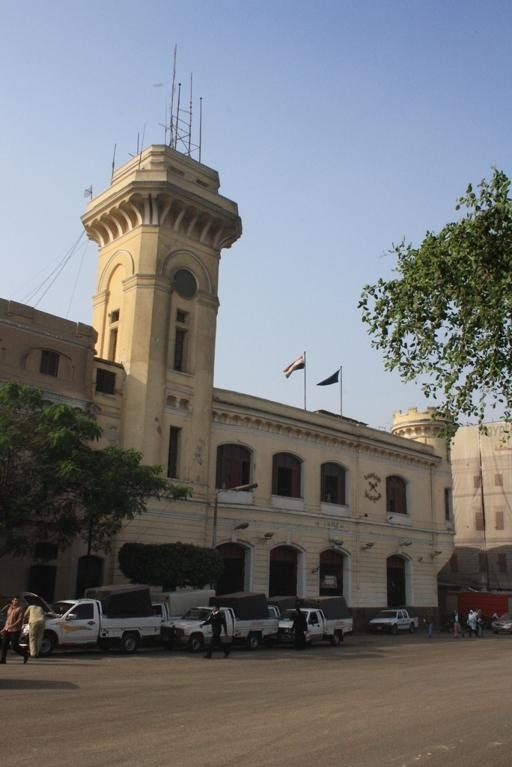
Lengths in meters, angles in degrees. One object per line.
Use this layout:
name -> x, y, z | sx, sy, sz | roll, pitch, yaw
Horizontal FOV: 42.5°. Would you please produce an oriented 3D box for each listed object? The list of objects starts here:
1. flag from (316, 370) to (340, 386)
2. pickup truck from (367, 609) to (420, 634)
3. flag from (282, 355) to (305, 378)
flag -> 3.522, -0.133, 31.189 | 0.882, 0.774, 0.098 | 5, -19, 6
pickup truck -> 8.185, 14.210, 39.376 | 1.305, 1.323, 3.181 | -12, -21, 39
flag -> 1.840, -0.759, 30.405 | 1.264, 1.230, 0.253 | -24, -43, 32
